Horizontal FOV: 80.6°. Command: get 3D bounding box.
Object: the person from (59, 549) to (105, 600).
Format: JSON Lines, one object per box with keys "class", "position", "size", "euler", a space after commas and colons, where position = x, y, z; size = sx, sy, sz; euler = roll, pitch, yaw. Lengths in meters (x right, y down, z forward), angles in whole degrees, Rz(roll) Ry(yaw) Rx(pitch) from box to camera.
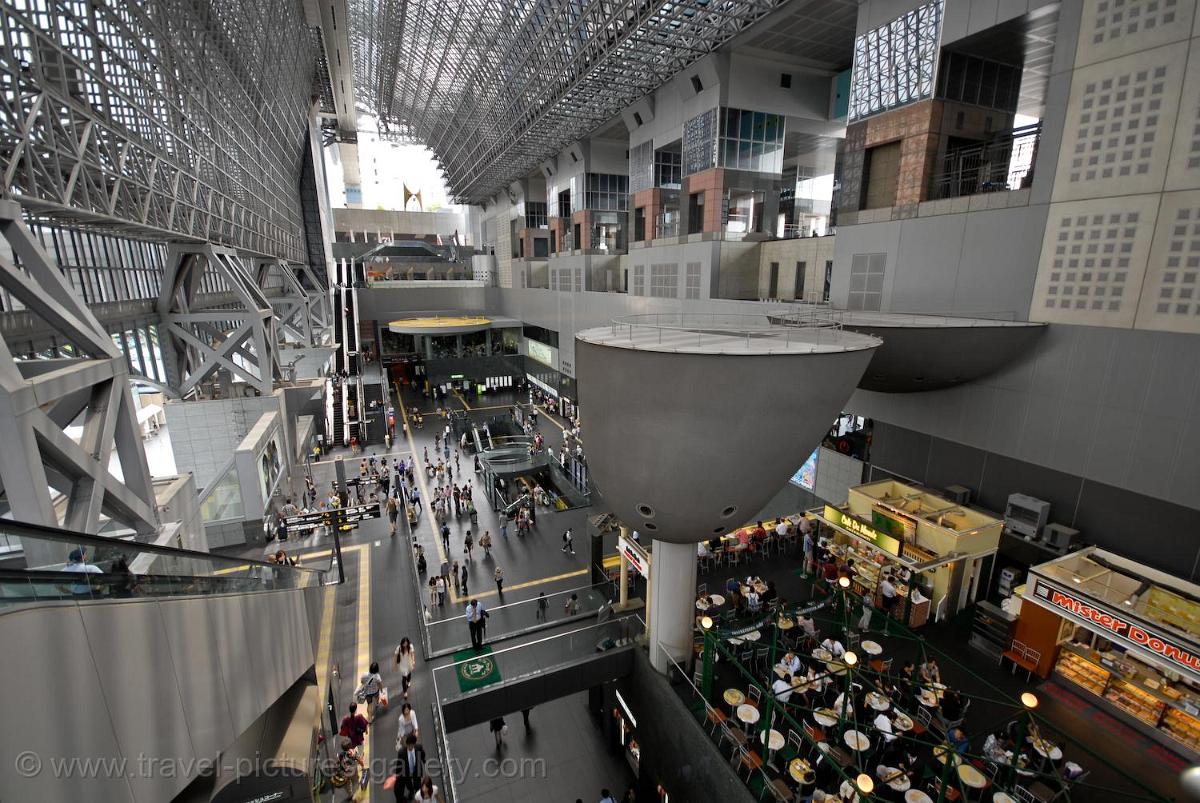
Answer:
{"class": "person", "position": [-8.652, 2.898, 11.772], "size": [0.549, 0.250, 0.824], "euler": [1, 17, -39]}
